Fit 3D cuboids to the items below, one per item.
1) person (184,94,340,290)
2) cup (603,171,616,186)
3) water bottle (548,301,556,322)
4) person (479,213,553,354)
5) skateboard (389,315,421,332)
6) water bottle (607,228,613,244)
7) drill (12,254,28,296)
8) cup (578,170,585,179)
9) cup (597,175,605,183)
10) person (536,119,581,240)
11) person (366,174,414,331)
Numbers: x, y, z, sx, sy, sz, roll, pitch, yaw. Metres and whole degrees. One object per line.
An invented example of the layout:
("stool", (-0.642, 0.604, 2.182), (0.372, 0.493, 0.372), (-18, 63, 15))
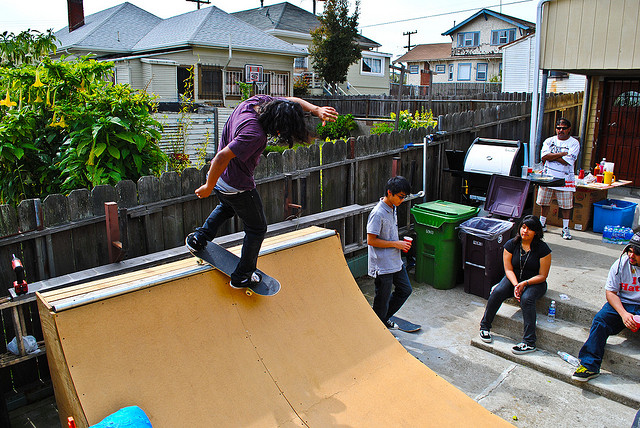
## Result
("person", (-0.785, -0.206, 5.425), (1.475, 2.227, 0.833), (-4, 15, -10))
("cup", (6.128, -0.770, 9.960), (0.205, 0.266, 0.496), (10, 19, 34))
("water bottle", (3.465, 1.452, 7.014), (0.085, 0.262, 0.180), (7, 17, 28))
("person", (2.876, 0.983, 6.909), (0.754, 1.820, 0.843), (9, 18, 34))
("skateboard", (1.345, 1.730, 7.340), (0.183, 0.097, 0.602), (-8, 15, -29))
("water bottle", (5.714, 0.422, 9.254), (0.079, 0.264, 0.118), (4, 16, 19))
("drill", (-3.428, 0.702, 5.350), (0.131, 0.443, 0.282), (-12, 18, -34))
("cup", (5.559, -0.841, 9.985), (0.139, 0.267, 0.146), (-3, 4, 0))
("cup", (5.947, -0.745, 9.983), (0.120, 0.159, 0.130), (-1, 3, 0))
("person", (4.815, -0.699, 9.480), (0.710, 2.301, 0.588), (7, 17, 27))
("person", (1.026, 0.632, 6.949), (0.655, 2.364, 0.419), (0, 15, 4))
